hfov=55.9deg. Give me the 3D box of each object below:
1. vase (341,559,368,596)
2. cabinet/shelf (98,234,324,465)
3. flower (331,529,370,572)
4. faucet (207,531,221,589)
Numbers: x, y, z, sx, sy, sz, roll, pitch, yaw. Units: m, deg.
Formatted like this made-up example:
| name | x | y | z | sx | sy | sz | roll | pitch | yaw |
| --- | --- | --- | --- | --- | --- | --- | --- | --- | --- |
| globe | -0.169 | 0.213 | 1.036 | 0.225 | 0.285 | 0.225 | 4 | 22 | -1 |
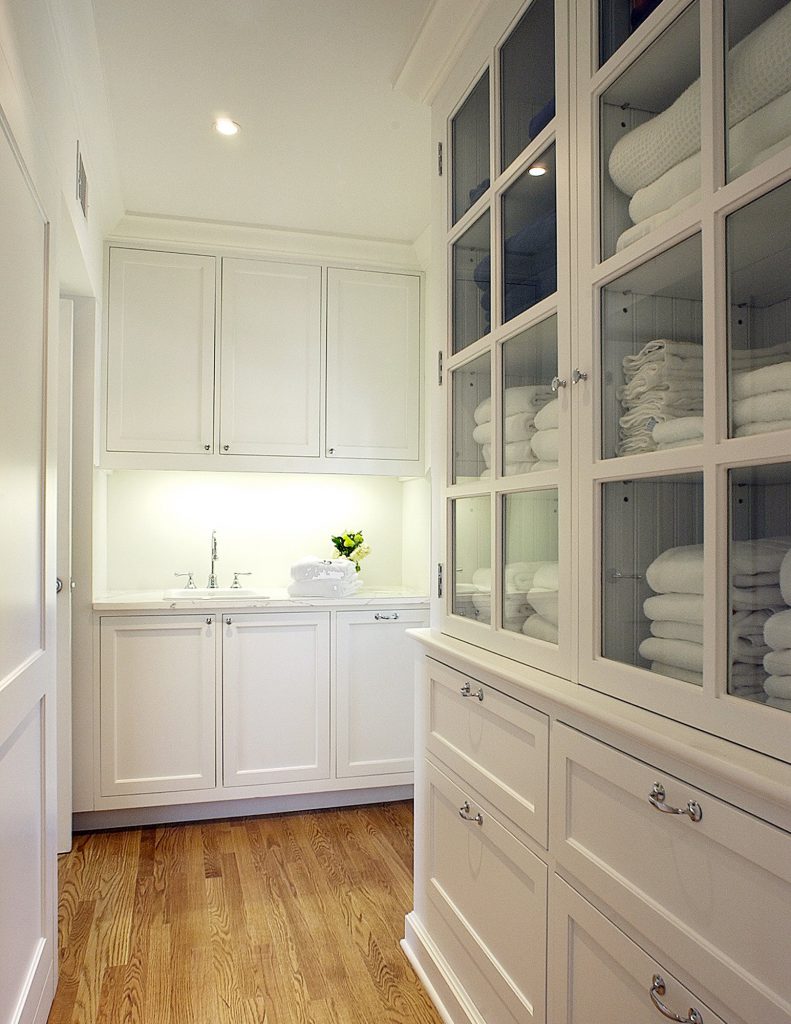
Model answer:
| name | x | y | z | sx | sy | sz | roll | pitch | yaw |
| --- | --- | --- | --- | --- | --- | --- | --- | --- | --- |
| vase | -0.180 | 0.291 | 3.243 | 0.099 | 0.234 | 0.163 | -2 | 0 | -8 |
| cabinet/shelf | -0.804 | -0.682 | 3.089 | 0.767 | 0.857 | 0.327 | 2 | -1 | -21 |
| flower | -0.204 | 0.187 | 3.533 | 0.158 | 0.206 | 0.179 | -4 | -4 | 14 |
| faucet | -0.838 | 0.218 | 3.428 | 0.043 | 0.266 | 0.085 | 0 | -2 | -3 |
